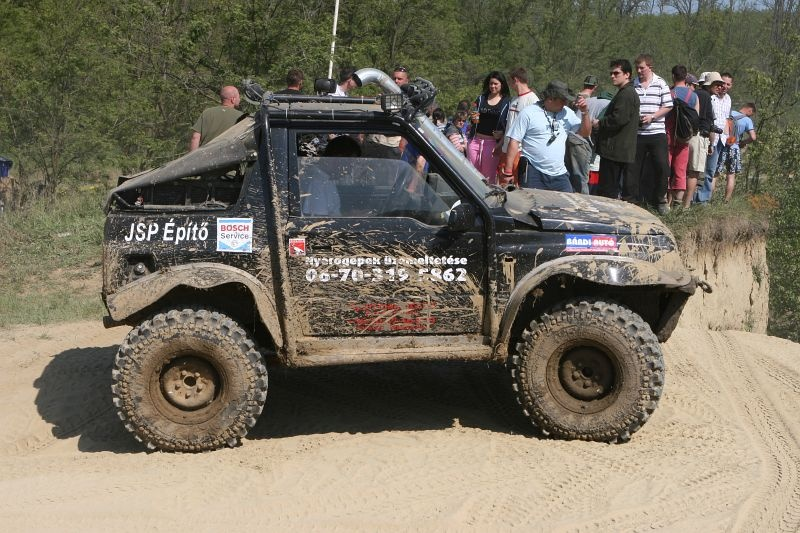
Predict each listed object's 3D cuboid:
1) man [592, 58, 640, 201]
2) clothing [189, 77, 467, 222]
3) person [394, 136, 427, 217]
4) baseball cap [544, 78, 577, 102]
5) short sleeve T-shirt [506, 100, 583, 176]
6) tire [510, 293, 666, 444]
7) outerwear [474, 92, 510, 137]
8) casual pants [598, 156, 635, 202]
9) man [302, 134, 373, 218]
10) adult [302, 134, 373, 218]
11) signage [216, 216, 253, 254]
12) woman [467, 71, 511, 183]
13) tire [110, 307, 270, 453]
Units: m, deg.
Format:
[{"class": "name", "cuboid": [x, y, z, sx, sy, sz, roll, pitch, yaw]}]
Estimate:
[{"class": "man", "cuboid": [3.425, -2.024, 14.588, 0.738, 2.401, 0.910, 9, 16, 31]}, {"class": "clothing", "cuboid": [-0.382, -1.419, 11.274, 2.251, 1.241, 1.404, -3, 16, -3]}, {"class": "person", "cuboid": [0.132, -1.055, 10.698, 0.483, 0.827, 0.194, 13, 0, 0]}, {"class": "baseball cap", "cuboid": [2.366, -2.570, 13.471, 0.410, 0.220, 0.309, 1, 21, -9]}, {"class": "short sleeve T-shirt", "cuboid": [2.189, -1.905, 13.768, 1.272, 1.082, 0.589, 1, 9, -21]}, {"class": "tire", "cuboid": [2.206, 1.218, 11.043, 1.669, 1.693, 0.547, 2, -3, 5]}, {"class": "outerwear", "cuboid": [1.502, -2.472, 14.938, 0.569, 0.756, 0.416, 8, -4, 16]}, {"class": "casual pants", "cuboid": [3.412, -1.397, 14.509, 0.224, 0.920, 0.273, -8, -16, -15]}, {"class": "man", "cuboid": [-0.832, -1.064, 10.793, 0.902, 0.932, 0.280, 1, 3, -3]}, {"class": "adult", "cuboid": [-0.837, -1.060, 10.929, 0.902, 0.932, 0.280, 1, 3, -3]}, {"class": "signage", "cuboid": [-1.948, -0.385, 10.856, 0.440, 0.403, 0.054, 0, 4, -28]}, {"class": "woman", "cuboid": [1.426, -2.051, 14.989, 0.668, 2.210, 0.683, 7, 24, 5]}, {"class": "tire", "cuboid": [-2.465, 1.300, 10.876, 1.666, 1.666, 0.539, 0, -2, -1]}]
